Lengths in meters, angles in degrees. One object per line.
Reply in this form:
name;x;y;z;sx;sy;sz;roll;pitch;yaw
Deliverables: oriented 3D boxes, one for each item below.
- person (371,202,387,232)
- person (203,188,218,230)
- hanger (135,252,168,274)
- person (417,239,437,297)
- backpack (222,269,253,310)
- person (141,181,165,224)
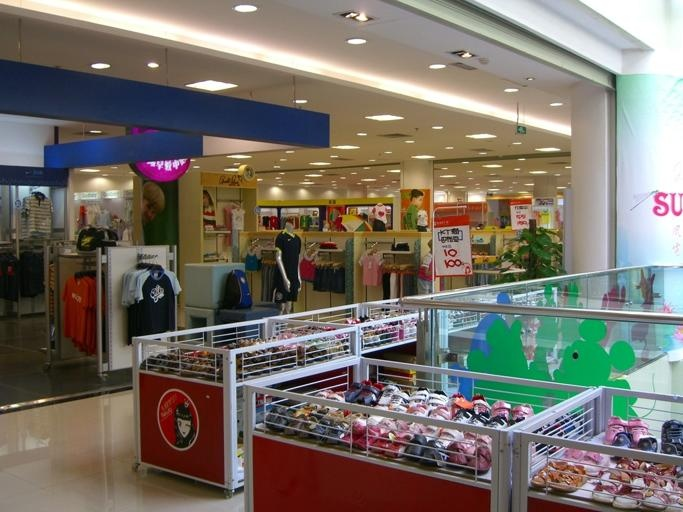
person;0.889;-0.991;13.069;0.359;0.559;1.216;-5;9;4
person;-3.331;-1.234;13.571;0.162;1.022;0.507;-2;9;23
hanger;-2.507;0.065;7.038;0.498;0.208;0.157;-1;1;35
person;1.483;0.277;9.428;0.259;0.734;0.539;-9;9;-25
backpack;-1.339;0.421;6.744;0.349;0.501;0.230;-8;8;-15
person;-4.627;-1.404;13.222;0.733;0.770;0.552;-25;-20;14
